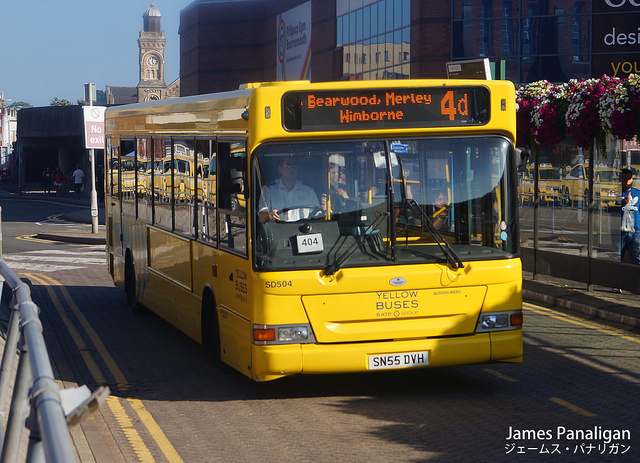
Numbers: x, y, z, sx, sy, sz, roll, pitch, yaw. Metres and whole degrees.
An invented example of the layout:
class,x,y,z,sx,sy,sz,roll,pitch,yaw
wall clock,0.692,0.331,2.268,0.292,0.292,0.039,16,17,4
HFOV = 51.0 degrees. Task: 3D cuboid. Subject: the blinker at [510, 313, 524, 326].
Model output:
class,x,y,z,sx,sy,sz,roll,pitch,yaw
blinker,2.189,0.953,7.475,0.185,0.154,0.105,0,-2,-34
